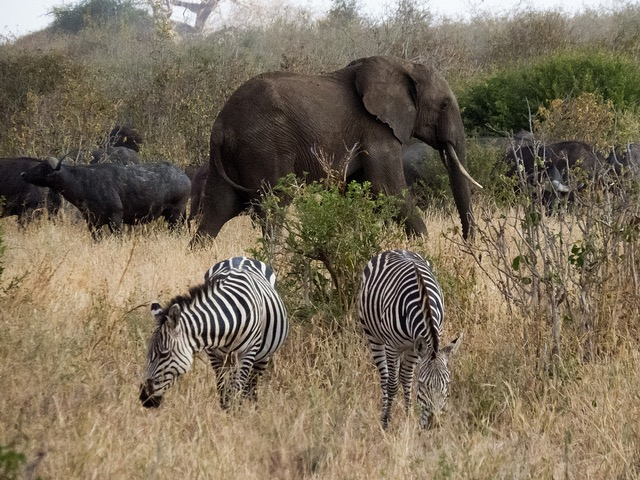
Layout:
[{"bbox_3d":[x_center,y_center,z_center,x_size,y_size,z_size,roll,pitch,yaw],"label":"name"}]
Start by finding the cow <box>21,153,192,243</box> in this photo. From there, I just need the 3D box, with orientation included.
[{"bbox_3d":[-2.851,-0.627,10.535,2.141,0.954,0.677,2,11,-24],"label":"cow"}]

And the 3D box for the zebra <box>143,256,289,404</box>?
[{"bbox_3d":[-0.800,0.887,6.720,0.817,1.310,2.093,-8,-7,29],"label":"zebra"}]

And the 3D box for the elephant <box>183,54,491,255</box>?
[{"bbox_3d":[0.237,-1.066,10.013,3.892,2.906,2.204,-2,22,-8],"label":"elephant"}]
